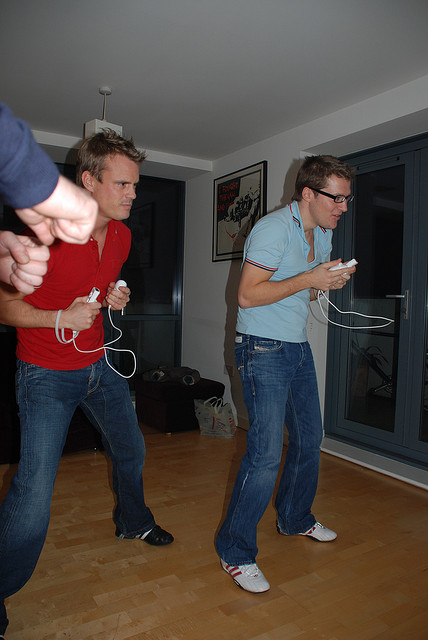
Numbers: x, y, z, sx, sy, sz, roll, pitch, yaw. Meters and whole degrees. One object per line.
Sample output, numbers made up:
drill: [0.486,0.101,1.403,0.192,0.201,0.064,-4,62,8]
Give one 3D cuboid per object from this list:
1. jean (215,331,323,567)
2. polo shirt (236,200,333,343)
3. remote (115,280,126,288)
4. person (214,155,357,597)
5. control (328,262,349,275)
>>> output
jean: [0.225,0.499,1.766,0.305,0.913,0.501,6,7,27]
polo shirt: [0.272,-0.197,1.734,0.216,0.542,0.509,9,9,43]
remote: [-0.334,-0.131,1.632,0.028,0.023,0.027,-8,-29,29]
person: [0.292,0.175,1.747,0.408,1.670,0.577,5,7,19]
control: [0.434,-0.187,1.593,0.063,0.028,0.100,4,7,13]
